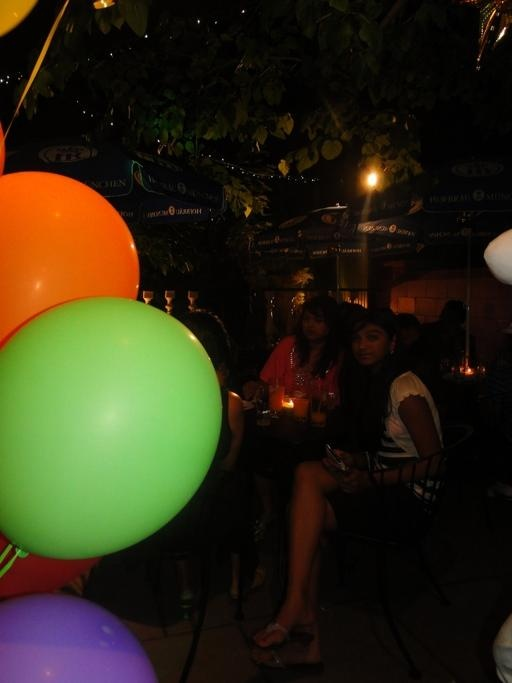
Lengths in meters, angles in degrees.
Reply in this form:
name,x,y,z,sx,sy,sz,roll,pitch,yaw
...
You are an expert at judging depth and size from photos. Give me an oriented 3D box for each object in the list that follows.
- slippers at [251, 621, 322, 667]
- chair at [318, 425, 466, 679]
name,x,y,z,sx,sy,sz,roll,pitch,yaw
slippers,0.134,1.279,2.508,0.269,0.152,0.108,-1,-3,-1
chair,0.651,0.934,3.087,0.825,1.160,0.922,1,0,21
